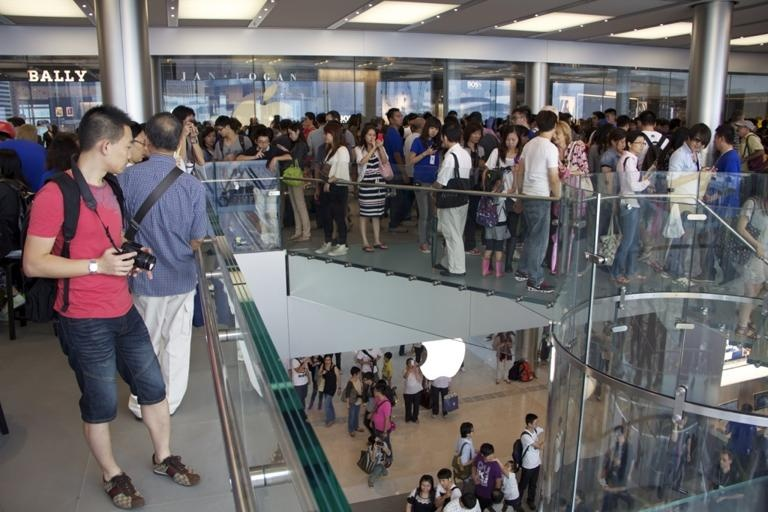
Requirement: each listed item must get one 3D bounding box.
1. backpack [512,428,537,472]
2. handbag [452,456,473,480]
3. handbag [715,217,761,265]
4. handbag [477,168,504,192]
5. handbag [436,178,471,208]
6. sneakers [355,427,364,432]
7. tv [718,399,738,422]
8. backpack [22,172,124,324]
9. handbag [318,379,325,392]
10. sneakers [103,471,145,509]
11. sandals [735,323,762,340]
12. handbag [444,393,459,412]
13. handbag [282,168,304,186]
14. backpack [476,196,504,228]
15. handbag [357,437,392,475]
[{"bbox_3d":[2.757,3.767,10.462,0.318,0.579,0.350,-11,-33,28],"label":"backpack"},{"bbox_3d":[1.611,4.383,10.926,0.423,0.617,0.452,0,9,0],"label":"handbag"},{"bbox_3d":[3.443,-0.133,5.110,0.339,0.447,0.169,13,-7,-4],"label":"handbag"},{"bbox_3d":[1.567,-1.093,7.562,0.328,0.334,0.248,1,35,3],"label":"handbag"},{"bbox_3d":[1.041,-0.979,7.845,0.480,0.494,0.315,6,26,12],"label":"handbag"},{"bbox_3d":[-0.581,4.175,12.729,0.160,0.059,0.080,-1,19,3],"label":"sneakers"},{"bbox_3d":[3.062,1.347,4.644,0.165,0.043,0.154,-19,23,-34],"label":"tv"},{"bbox_3d":[-1.876,-0.032,3.176,0.438,0.805,0.747,3,15,0],"label":"backpack"},{"bbox_3d":[-1.530,3.101,12.716,0.199,0.273,0.069,-1,-6,35],"label":"handbag"},{"bbox_3d":[-1.728,1.559,3.522,0.325,0.146,0.152,28,35,30],"label":"sneakers"},{"bbox_3d":[3.492,0.718,5.039,0.174,0.109,0.102,2,5,39],"label":"sandals"},{"bbox_3d":[1.749,3.811,13.747,0.407,0.400,0.220,-7,9,-43],"label":"handbag"},{"bbox_3d":[-1.612,-1.400,9.214,0.238,0.303,0.148,9,21,14],"label":"handbag"},{"bbox_3d":[1.529,-0.657,7.505,0.236,0.431,0.297,-18,28,-41],"label":"backpack"},{"bbox_3d":[-0.191,4.316,11.365,0.617,0.660,0.381,30,7,12],"label":"handbag"}]
